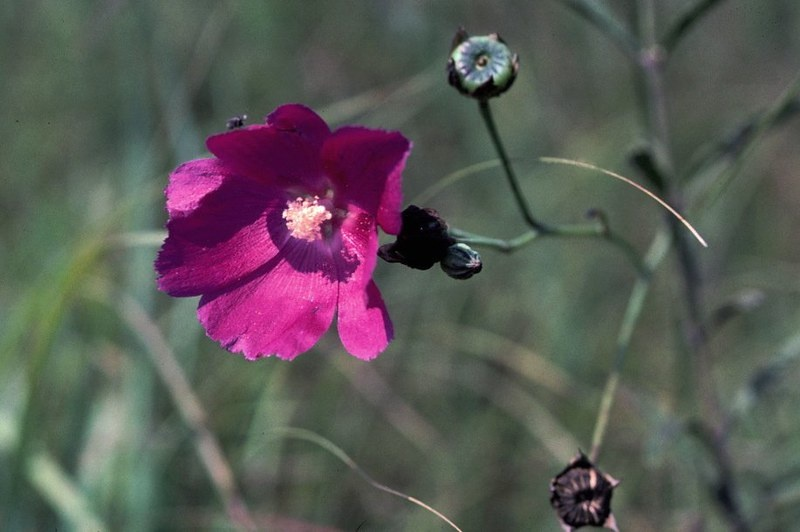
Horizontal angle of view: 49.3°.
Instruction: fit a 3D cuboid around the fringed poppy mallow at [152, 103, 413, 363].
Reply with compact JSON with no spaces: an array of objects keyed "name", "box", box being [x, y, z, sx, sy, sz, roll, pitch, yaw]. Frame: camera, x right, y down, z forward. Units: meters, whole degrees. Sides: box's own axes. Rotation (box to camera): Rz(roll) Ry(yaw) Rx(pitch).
[{"name":"fringed poppy mallow","box":[-0.355,-0.063,2.615,0.796,0.671,0.511,-11,-37,-8]}]
